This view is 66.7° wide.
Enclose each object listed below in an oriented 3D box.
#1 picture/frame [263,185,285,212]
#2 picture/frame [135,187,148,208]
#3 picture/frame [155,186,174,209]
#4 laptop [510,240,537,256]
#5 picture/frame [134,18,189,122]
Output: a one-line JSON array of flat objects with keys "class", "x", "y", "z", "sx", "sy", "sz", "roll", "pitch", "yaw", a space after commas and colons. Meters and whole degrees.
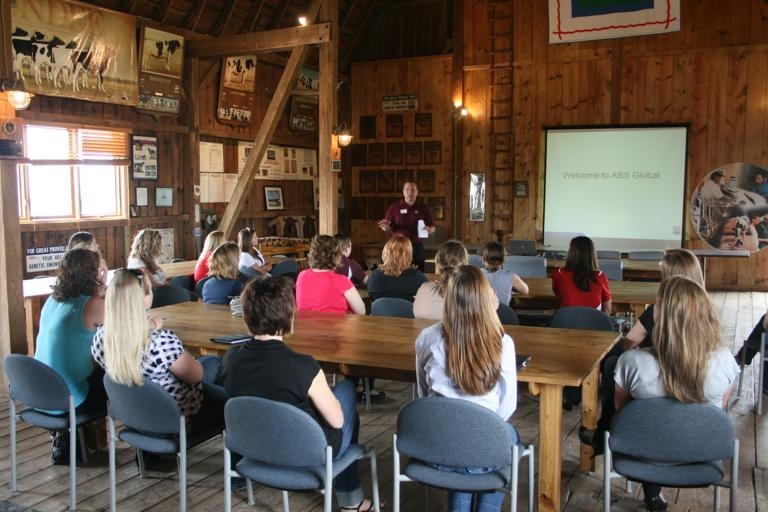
[{"class": "picture/frame", "x": -2.294, "y": -1.164, "z": 11.897, "sx": 0.044, "sy": 0.475, "sz": 0.545, "roll": -3, "pitch": 2, "yaw": 27}, {"class": "picture/frame", "x": -3.921, "y": -0.939, "z": 9.376, "sx": 0.049, "sy": 0.301, "sz": 0.245, "roll": 1, "pitch": 5, "yaw": 18}, {"class": "picture/frame", "x": -3.699, "y": -0.973, "z": 9.701, "sx": 0.051, "sy": 0.336, "sz": 0.384, "roll": 0, "pitch": 1, "yaw": 29}, {"class": "laptop", "x": 2.187, "y": -0.116, "z": 9.252, "sx": 0.379, "sy": 0.268, "sz": 0.274, "roll": 2, "pitch": 5, "yaw": 28}, {"class": "picture/frame", "x": -3.608, "y": -2.944, "z": 9.377, "sx": 0.156, "sy": 1.293, "sz": 0.841, "roll": 2, "pitch": 6, "yaw": 30}]
